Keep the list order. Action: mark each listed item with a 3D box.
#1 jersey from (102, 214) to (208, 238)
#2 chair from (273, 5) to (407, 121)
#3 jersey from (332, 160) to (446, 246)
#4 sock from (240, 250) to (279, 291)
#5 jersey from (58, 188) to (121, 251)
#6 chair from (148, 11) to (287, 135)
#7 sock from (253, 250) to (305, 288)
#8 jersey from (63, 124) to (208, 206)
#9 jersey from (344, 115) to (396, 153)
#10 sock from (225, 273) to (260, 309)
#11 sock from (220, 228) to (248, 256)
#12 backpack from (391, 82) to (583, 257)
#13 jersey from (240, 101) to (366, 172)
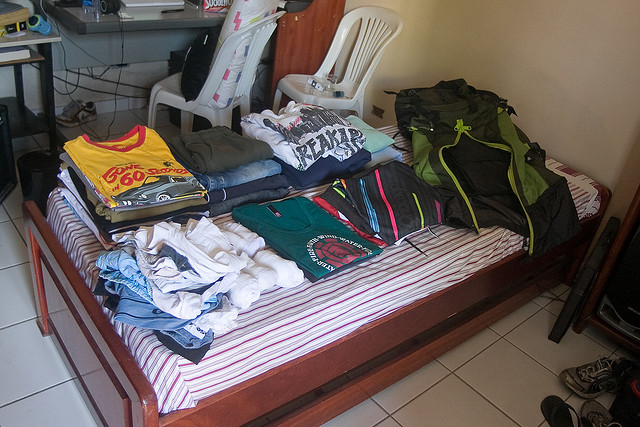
[{"bbox_3d":[-0.760,0.048,1.895,0.189,0.050,0.185,-5,10,-40],"label":"jersey"},{"bbox_3d":[0.142,-1.175,3.429,0.561,0.718,0.853,32,46,31],"label":"chair"},{"bbox_3d":[0.352,-0.087,2.304,0.455,0.136,0.423,-18,60,-35],"label":"jersey"},{"bbox_3d":[-0.270,0.229,1.860,0.164,0.064,0.112,40,42,16],"label":"sock"},{"bbox_3d":[-1.026,0.058,1.985,0.328,0.074,0.246,-13,70,13],"label":"jersey"},{"bbox_3d":[-0.746,-0.975,3.029,0.881,0.764,0.442,8,39,4],"label":"chair"},{"bbox_3d":[-0.169,0.227,1.878,0.118,0.075,0.208,-25,46,-34],"label":"sock"},{"bbox_3d":[-0.824,-0.344,1.907,0.394,0.135,0.499,-23,52,-35],"label":"jersey"},{"bbox_3d":[0.302,-0.493,2.796,0.119,0.283,0.447,-23,21,-33],"label":"jersey"},{"bbox_3d":[-0.305,0.303,1.757,0.100,0.090,0.126,31,45,29],"label":"sock"},{"bbox_3d":[-0.386,0.123,1.954,0.110,0.033,0.112,41,41,14],"label":"sock"},{"bbox_3d":[0.895,-0.271,2.843,0.851,0.365,1.178,-14,59,-19],"label":"backpack"},{"bbox_3d":[-0.121,-0.487,2.473,0.480,0.143,0.464,-18,48,-38],"label":"jersey"}]
